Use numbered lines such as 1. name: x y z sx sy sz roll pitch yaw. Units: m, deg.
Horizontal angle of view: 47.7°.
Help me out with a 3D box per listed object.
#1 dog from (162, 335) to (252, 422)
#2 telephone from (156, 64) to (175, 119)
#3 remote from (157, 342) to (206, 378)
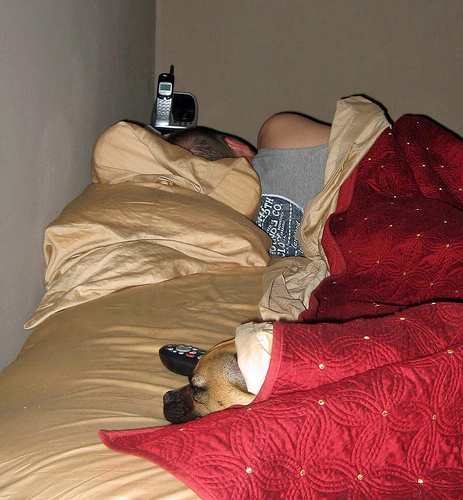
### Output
1. dog: -0.030 0.182 0.726 0.170 0.077 0.087 -15 24 25
2. telephone: -0.277 -0.646 2.188 0.070 0.183 0.079 9 27 -9
3. remote: -0.078 0.172 0.836 0.089 0.023 0.038 14 32 28
